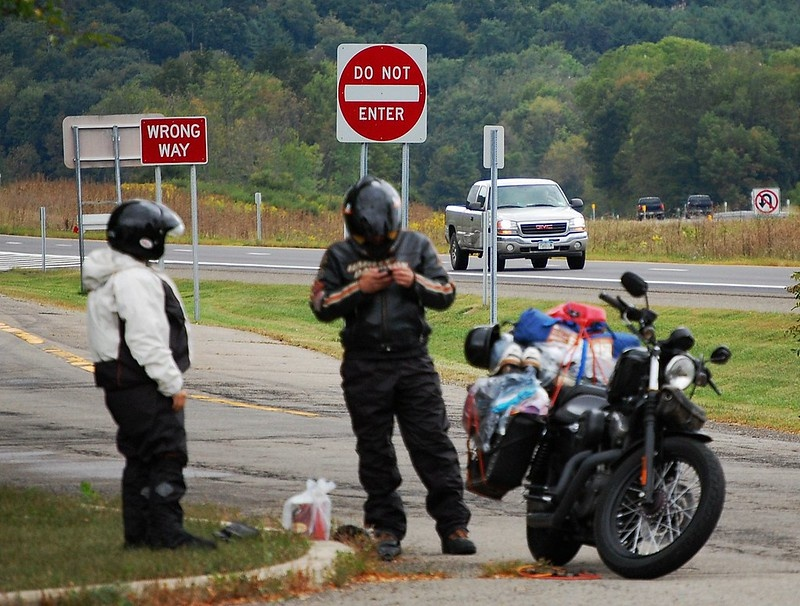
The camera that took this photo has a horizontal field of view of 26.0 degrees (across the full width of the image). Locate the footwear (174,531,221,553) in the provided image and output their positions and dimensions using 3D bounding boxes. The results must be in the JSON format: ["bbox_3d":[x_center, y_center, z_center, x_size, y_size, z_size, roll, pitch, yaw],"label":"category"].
[{"bbox_3d":[-1.743,2.028,15.040,0.443,0.213,0.150,-3,-3,0],"label":"footwear"}]

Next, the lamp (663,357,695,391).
[{"bbox_3d":[2.350,0.572,14.690,0.249,0.314,0.116,0,2,-9],"label":"lamp"}]

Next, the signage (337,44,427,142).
[{"bbox_3d":[-0.196,-2.246,18.821,0.961,1.114,0.122,0,0,1],"label":"signage"}]

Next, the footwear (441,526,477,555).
[{"bbox_3d":[0.534,2.117,15.576,0.146,0.196,0.404,1,-9,-25],"label":"footwear"}]

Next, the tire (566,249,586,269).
[{"bbox_3d":[3.676,-0.938,36.370,0.347,0.391,0.580,1,4,9],"label":"tire"}]

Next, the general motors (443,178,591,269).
[{"bbox_3d":[2.419,-1.781,36.872,1.583,1.257,2.819,-1,-1,-16],"label":"general motors"}]

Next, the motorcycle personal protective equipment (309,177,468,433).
[{"bbox_3d":[-0.172,-0.153,15.504,1.232,1.928,0.441,0,4,-2],"label":"motorcycle personal protective equipment"}]

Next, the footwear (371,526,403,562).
[{"bbox_3d":[-0.118,2.115,15.437,0.261,0.247,0.241,0,4,-5],"label":"footwear"}]

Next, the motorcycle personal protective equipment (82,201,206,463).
[{"bbox_3d":[-2.271,0.036,15.074,0.921,1.852,0.485,0,4,-8],"label":"motorcycle personal protective equipment"}]

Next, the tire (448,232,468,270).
[{"bbox_3d":[1.285,-1.171,37.780,0.229,0.728,0.686,-1,12,-9],"label":"tire"}]
